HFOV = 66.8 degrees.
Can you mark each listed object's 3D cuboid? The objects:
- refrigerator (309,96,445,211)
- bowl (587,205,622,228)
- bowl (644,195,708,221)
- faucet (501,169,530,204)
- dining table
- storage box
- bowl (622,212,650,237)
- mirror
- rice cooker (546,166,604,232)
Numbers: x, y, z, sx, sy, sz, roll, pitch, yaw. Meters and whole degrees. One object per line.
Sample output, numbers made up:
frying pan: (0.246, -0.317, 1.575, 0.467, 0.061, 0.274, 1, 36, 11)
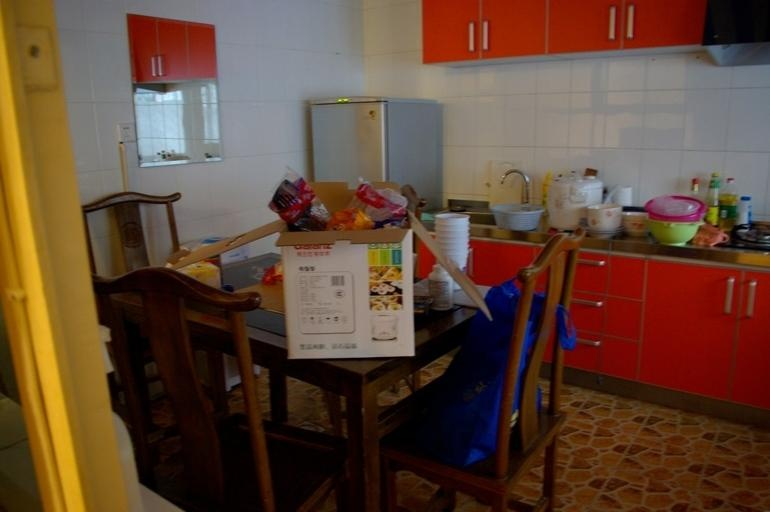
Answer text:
refrigerator: (0.003, -0.805, 4.573, 1.040, 0.914, 0.836, 13, 20, 34)
bowl: (1.270, -0.234, 3.422, 0.185, 0.135, 0.166, -5, 13, -13)
bowl: (1.582, -0.260, 3.174, 0.276, 0.106, 0.248, -9, 15, -27)
faucet: (0.904, -0.484, 4.051, 0.213, 0.241, 0.248, 0, 13, 10)
dining table: (-0.110, 0.383, 2.092, 0.694, 0.662, 1.070, -8, 17, -42)
storage box: (-0.087, -0.048, 2.002, 0.758, 0.560, 0.794, 0, 11, 5)
bowl: (1.431, -0.187, 3.340, 0.128, 0.091, 0.141, 0, 0, 9)
mirror: (-1.252, -0.985, 3.508, 0.030, 0.857, 0.599, 14, 21, 31)
rice cooker: (1.122, -0.366, 3.628, 0.319, 0.350, 0.353, 4, 15, 7)
